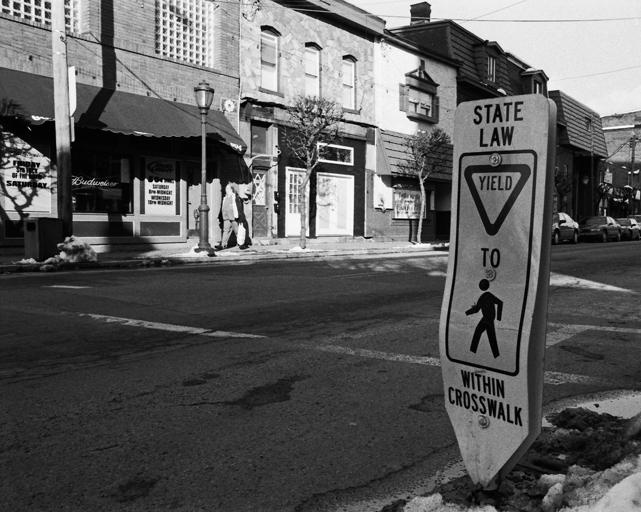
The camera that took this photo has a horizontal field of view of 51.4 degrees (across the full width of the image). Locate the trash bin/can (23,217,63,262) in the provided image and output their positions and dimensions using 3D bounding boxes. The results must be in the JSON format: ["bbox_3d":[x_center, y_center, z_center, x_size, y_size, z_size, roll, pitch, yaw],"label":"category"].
[{"bbox_3d":[-6.244,-0.412,15.030,0.800,0.960,0.570,-3,6,-26],"label":"trash bin/can"}]

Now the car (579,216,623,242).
[{"bbox_3d":[15.129,-1.526,36.096,1.292,1.188,2.979,-3,-4,42],"label":"car"}]
